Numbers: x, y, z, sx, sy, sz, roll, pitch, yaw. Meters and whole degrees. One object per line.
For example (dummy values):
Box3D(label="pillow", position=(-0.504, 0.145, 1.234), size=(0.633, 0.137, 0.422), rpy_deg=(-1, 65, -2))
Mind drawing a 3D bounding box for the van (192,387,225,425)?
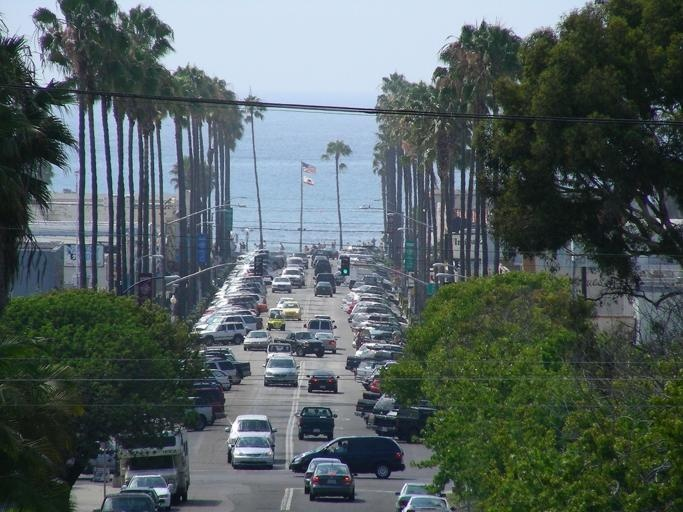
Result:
Box3D(label="van", position=(-7.685, 8.211, 89.584), size=(1.854, 1.493, 1.279), rpy_deg=(2, 0, -4))

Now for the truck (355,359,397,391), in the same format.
Box3D(label="truck", position=(2.063, 6.910, 90.925), size=(1.483, 1.607, 3.973), rpy_deg=(0, 2, 6))

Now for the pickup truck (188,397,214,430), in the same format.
Box3D(label="pickup truck", position=(-7.871, 8.836, 88.213), size=(1.097, 1.859, 2.603), rpy_deg=(-1, -6, -4))

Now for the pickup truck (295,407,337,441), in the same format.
Box3D(label="pickup truck", position=(-1.446, 8.957, 84.035), size=(1.872, 1.842, 2.464), rpy_deg=(0, -6, -14))

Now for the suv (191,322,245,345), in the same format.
Box3D(label="suv", position=(-8.301, 5.171, 107.780), size=(2.600, 1.567, 1.442), rpy_deg=(4, -5, -25))

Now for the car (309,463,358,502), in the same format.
Box3D(label="car", position=(-0.522, 10.743, 74.147), size=(2.104, 1.751, 0.965), rpy_deg=(-2, -5, -3))

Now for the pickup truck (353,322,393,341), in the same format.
Box3D(label="pickup truck", position=(2.365, 5.084, 107.431), size=(1.645, 1.090, 1.298), rpy_deg=(-4, 7, -8))

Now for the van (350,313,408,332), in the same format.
Box3D(label="van", position=(2.450, 5.115, 112.483), size=(2.797, 1.321, 1.630), rpy_deg=(-1, 7, 6))

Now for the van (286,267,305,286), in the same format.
Box3D(label="van", position=(-4.414, 1.867, 145.018), size=(1.052, 1.154, 2.722), rpy_deg=(1, -5, 2))

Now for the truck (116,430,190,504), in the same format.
Box3D(label="truck", position=(-9.185, 10.023, 75.871), size=(2.766, 3.826, 3.553), rpy_deg=(0, -6, -14))

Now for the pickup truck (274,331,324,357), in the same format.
Box3D(label="pickup truck", position=(-2.812, 5.916, 104.541), size=(1.420, 1.415, 2.945), rpy_deg=(1, -2, -28))

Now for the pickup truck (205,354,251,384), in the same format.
Box3D(label="pickup truck", position=(-6.876, 6.820, 94.429), size=(2.138, 1.257, 1.468), rpy_deg=(2, -2, -5))

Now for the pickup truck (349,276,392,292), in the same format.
Box3D(label="pickup truck", position=(2.570, 2.964, 142.016), size=(3.027, 1.676, 1.962), rpy_deg=(0, 3, -2))

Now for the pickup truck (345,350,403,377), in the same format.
Box3D(label="pickup truck", position=(2.114, 6.856, 97.345), size=(2.930, 1.324, 1.567), rpy_deg=(-5, 5, -17))

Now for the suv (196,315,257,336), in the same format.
Box3D(label="suv", position=(-7.627, 4.587, 109.372), size=(3.008, 1.736, 1.659), rpy_deg=(1, -2, -25))

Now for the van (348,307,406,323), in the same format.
Box3D(label="van", position=(2.328, 4.172, 116.891), size=(2.831, 1.343, 1.637), rpy_deg=(-1, 3, 2))

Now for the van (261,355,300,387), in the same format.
Box3D(label="van", position=(-3.800, 6.945, 94.947), size=(2.091, 1.944, 1.804), rpy_deg=(0, -5, -18))

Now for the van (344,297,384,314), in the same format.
Box3D(label="van", position=(1.710, 3.966, 124.760), size=(2.469, 1.133, 1.351), rpy_deg=(-6, 9, -25))
